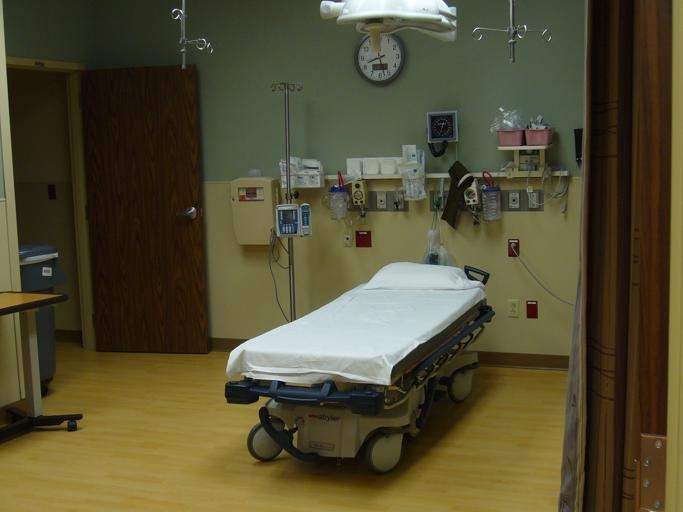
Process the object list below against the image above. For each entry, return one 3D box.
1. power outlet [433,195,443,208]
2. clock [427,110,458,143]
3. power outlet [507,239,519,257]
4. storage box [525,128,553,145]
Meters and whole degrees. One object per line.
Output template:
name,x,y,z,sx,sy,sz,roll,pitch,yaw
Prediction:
power outlet,0.755,-0.413,4.880,0.076,0.110,0.045,0,9,9
clock,0.760,-0.966,4.731,0.196,0.231,0.212,0,12,8
power outlet,1.313,-0.068,4.810,0.107,0.189,0.017,1,5,18
storage box,1.423,-0.856,4.561,0.139,0.088,0.118,1,5,18
